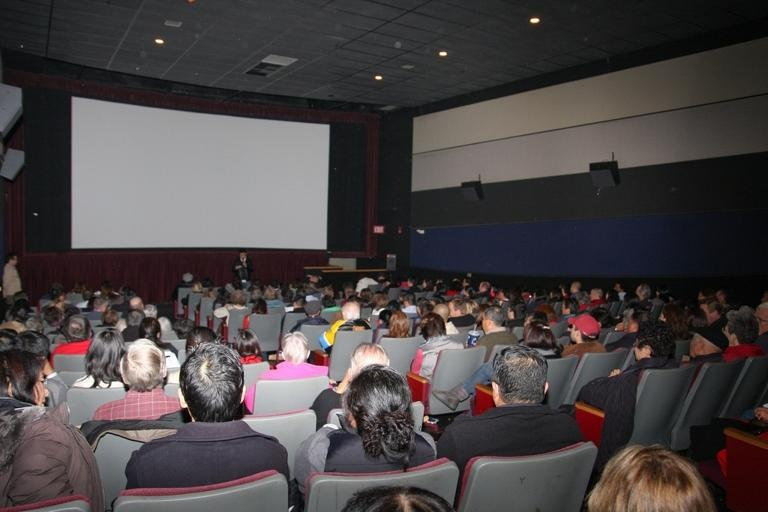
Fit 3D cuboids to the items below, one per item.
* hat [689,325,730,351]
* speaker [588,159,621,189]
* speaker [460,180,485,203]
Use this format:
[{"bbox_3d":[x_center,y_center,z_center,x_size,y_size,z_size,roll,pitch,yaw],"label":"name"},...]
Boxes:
[{"bbox_3d":[3.218,0.836,4.819,0.302,0.102,0.305,26,7,1],"label":"hat"},{"bbox_3d":[4.837,-1.713,10.769,0.689,0.686,0.531,2,44,36],"label":"speaker"},{"bbox_3d":[2.433,-1.778,13.392,0.350,0.582,0.556,-2,1,-33],"label":"speaker"}]
